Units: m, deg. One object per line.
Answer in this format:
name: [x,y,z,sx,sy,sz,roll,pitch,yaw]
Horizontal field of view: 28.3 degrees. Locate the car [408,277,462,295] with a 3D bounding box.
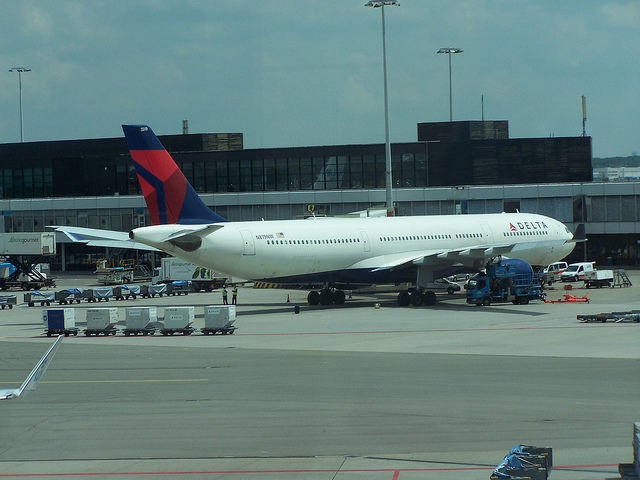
car: [7.394,3.029,79.924,3.855,1.291,1.304,-2,3,2]

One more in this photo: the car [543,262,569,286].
car: [16.938,2.320,90.256,1.583,1.106,2.290,-1,6,3]

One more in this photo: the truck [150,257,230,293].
truck: [-9.120,2.586,91.448,5.481,2.101,2.587,1,2,30]

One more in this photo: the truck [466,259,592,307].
truck: [12.250,2.538,73.772,8.042,2.289,2.185,-1,-9,-15]

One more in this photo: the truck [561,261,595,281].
truck: [18.092,2.215,87.375,2.311,0.857,1.276,-1,0,-42]
